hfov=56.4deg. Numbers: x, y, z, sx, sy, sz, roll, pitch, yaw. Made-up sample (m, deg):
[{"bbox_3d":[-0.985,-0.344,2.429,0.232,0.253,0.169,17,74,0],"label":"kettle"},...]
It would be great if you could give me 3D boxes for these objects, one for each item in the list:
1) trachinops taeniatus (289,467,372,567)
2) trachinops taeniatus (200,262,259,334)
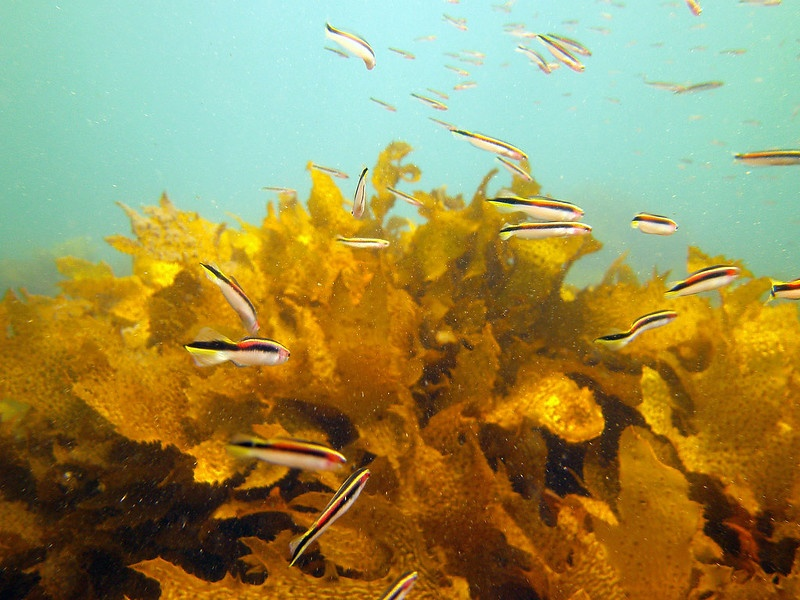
[{"bbox_3d":[-0.269,0.886,2.985,0.510,0.111,0.197,-35,83,-24],"label":"trachinops taeniatus"},{"bbox_3d":[-0.755,0.004,3.241,0.126,0.312,0.069,-35,18,3],"label":"trachinops taeniatus"}]
